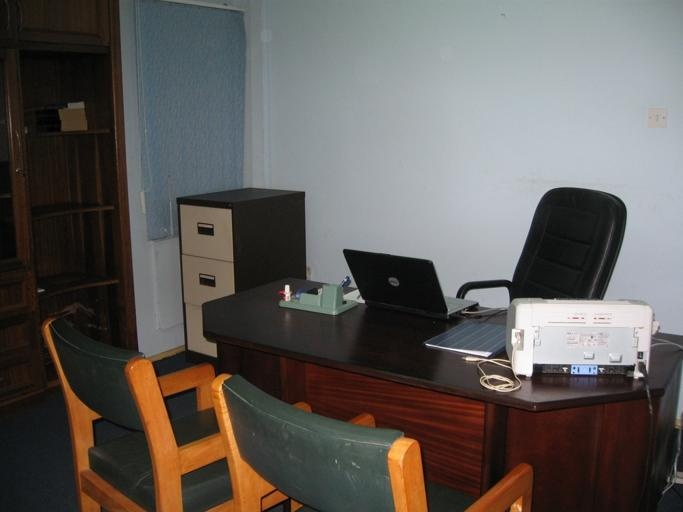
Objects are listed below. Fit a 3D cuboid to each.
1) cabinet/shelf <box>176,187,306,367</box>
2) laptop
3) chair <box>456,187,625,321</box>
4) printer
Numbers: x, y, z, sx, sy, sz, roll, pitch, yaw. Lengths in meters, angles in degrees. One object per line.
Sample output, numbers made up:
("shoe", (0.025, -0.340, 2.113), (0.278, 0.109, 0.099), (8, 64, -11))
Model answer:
("cabinet/shelf", (-0.796, 0.164, 4.542), (0.670, 1.320, 0.859), (5, 13, 33))
("laptop", (0.344, 0.098, 2.655), (0.566, 0.314, 0.539), (2, 14, 23))
("chair", (1.032, 0.152, 2.874), (0.580, 1.015, 0.556), (-4, 19, -43))
("printer", (0.870, 0.305, 2.012), (0.450, 0.279, 0.285), (-1, 12, 4))
